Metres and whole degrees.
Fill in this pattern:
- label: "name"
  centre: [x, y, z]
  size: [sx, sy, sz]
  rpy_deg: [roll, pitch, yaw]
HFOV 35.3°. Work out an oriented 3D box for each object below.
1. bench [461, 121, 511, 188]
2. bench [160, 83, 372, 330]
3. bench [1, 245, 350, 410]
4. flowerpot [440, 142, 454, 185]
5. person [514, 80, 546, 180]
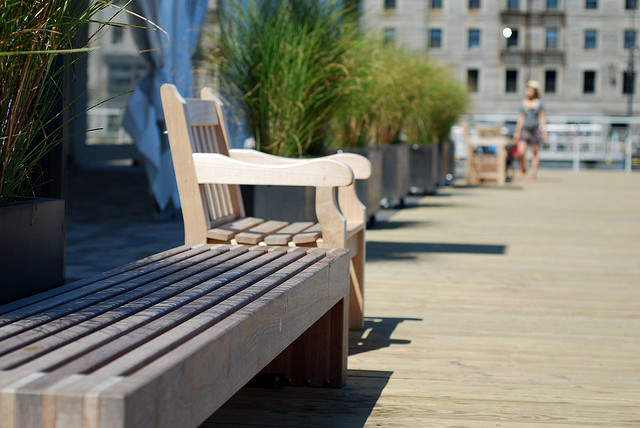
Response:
- label: "bench"
  centre: [1.861, -0.694, 11.509]
  size: [0.704, 0.976, 0.692]
  rpy_deg: [0, 8, 8]
- label: "bench"
  centre: [-0.264, 0.051, 4.240]
  size: [1.008, 1.228, 0.923]
  rpy_deg: [3, 1, -3]
- label: "bench"
  centre: [-0.473, 0.352, 3.139]
  size: [0.651, 0.280, 1.307]
  rpy_deg: [5, 11, 25]
- label: "flowerpot"
  centre: [1.346, -0.542, 10.785]
  size: [0.234, 0.440, 0.454]
  rpy_deg: [0, 4, 6]
- label: "person"
  centre: [2.435, -0.953, 11.672]
  size: [0.349, 1.197, 1.017]
  rpy_deg: [2, 10, 11]
